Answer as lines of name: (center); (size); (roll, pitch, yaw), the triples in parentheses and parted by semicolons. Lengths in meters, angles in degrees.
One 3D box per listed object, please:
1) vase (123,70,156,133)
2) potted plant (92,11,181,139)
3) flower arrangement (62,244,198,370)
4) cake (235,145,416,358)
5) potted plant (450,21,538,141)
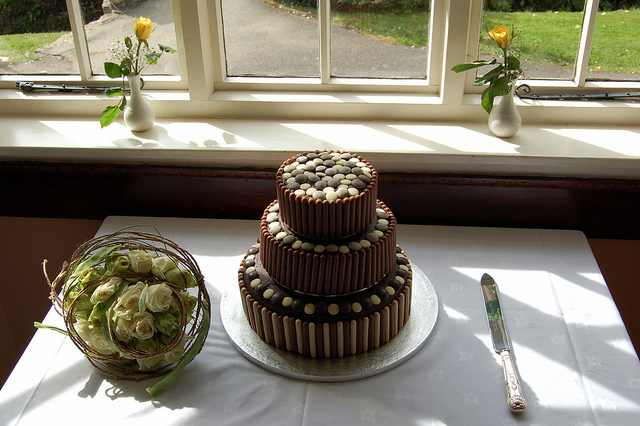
vase: (-0.664, -0.402, 1.678); (0.099, 0.225, 0.071); (-12, 33, -21)
potted plant: (-0.683, -0.518, 1.735); (0.307, 0.320, 0.280); (17, 37, 12)
flower arrangement: (-0.490, 0.242, 1.208); (0.336, 0.264, 0.204); (2, 30, 1)
cake: (-0.014, 0.131, 1.360); (0.500, 0.432, 0.518); (-18, 38, -23)
potted plant: (0.636, -0.462, 1.612); (0.312, 0.369, 0.330); (-8, 13, -19)
